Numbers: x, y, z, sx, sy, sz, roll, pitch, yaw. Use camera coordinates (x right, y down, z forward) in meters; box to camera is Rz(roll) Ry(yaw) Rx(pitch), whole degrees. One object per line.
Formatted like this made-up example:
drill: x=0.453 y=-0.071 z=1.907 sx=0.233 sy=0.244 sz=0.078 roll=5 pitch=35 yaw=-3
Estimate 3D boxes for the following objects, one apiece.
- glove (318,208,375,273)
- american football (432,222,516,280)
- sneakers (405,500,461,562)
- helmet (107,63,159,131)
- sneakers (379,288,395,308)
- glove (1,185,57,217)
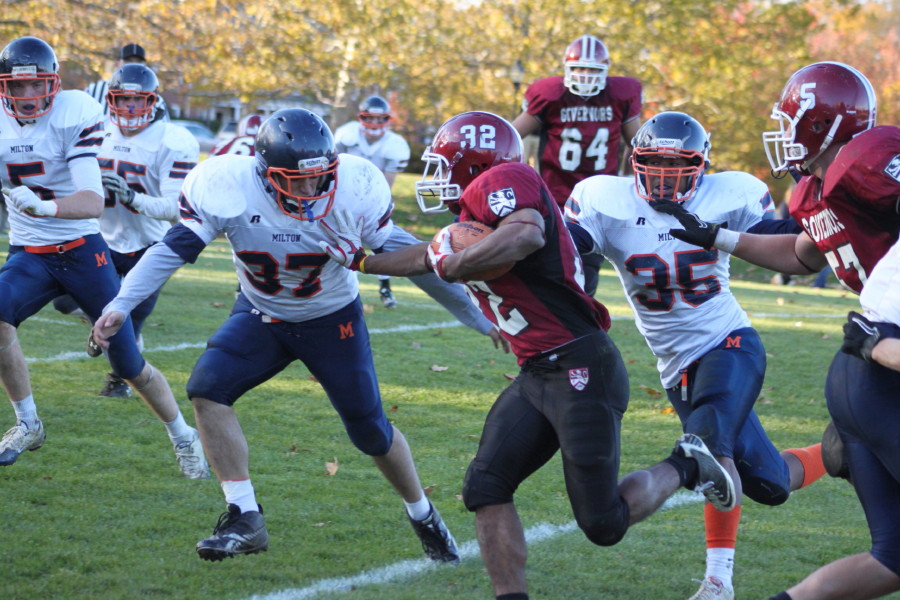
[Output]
glove: x=-0.592 y=-0.303 z=5.396 sx=0.135 sy=0.348 sz=0.235 roll=-33 pitch=32 yaw=28
american football: x=0.120 y=-0.229 z=5.007 sx=0.384 sy=0.262 sz=0.272 roll=6 pitch=-17 yaw=-3
sneakers: x=-0.055 y=1.359 z=5.671 sx=0.166 sy=0.444 sz=0.190 roll=-32 pitch=13 yaw=11
helmet: x=-2.440 y=-1.486 z=7.416 sx=0.402 sy=0.405 sz=0.476 roll=1 pitch=-1 yaw=-24
sneakers: x=-0.707 y=-0.018 z=11.130 sx=0.107 sy=0.238 sz=0.123 roll=-11 pitch=-5 yaw=-38
glove: x=-2.686 y=-0.617 z=6.236 sx=0.358 sy=0.195 sz=0.223 roll=0 pitch=14 yaw=-11
